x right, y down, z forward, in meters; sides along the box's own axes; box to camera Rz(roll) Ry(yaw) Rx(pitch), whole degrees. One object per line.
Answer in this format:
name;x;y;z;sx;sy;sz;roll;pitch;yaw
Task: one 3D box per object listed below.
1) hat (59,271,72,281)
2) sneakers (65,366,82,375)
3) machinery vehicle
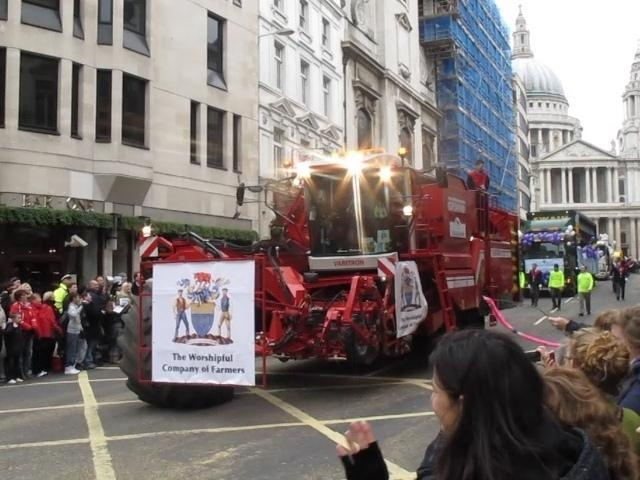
hat;-6.738;0.950;18.947;0.395;0.191;0.513;-3;0;-10
sneakers;-4.853;2.567;14.193;0.381;0.170;0.129;-1;-3;2
machinery vehicle;1.420;0.564;14.182;4.015;3.787;10.577;-15;-9;30
